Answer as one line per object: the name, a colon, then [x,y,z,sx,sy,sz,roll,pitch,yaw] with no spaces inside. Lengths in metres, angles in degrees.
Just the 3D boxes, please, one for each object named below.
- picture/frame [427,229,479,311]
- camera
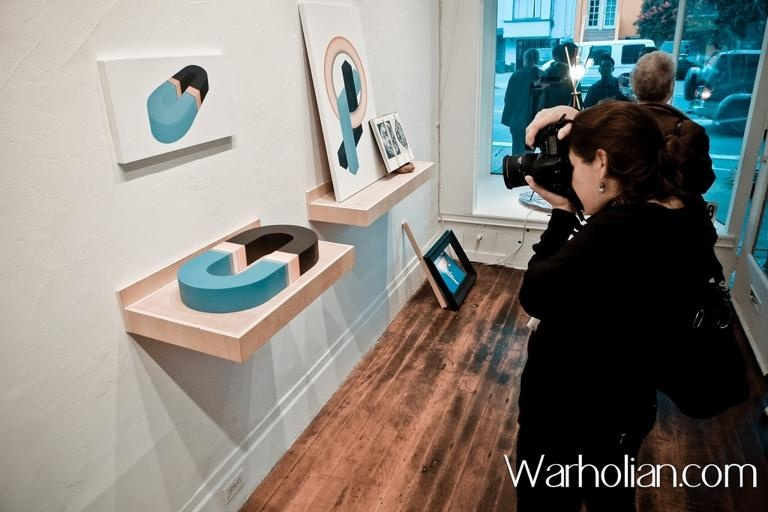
picture/frame: [0.551,0.126,3.745,0.060,0.406,0.559,-19,39,32]
camera: [0.604,-0.357,1.801,0.215,0.138,0.227,-11,7,-34]
